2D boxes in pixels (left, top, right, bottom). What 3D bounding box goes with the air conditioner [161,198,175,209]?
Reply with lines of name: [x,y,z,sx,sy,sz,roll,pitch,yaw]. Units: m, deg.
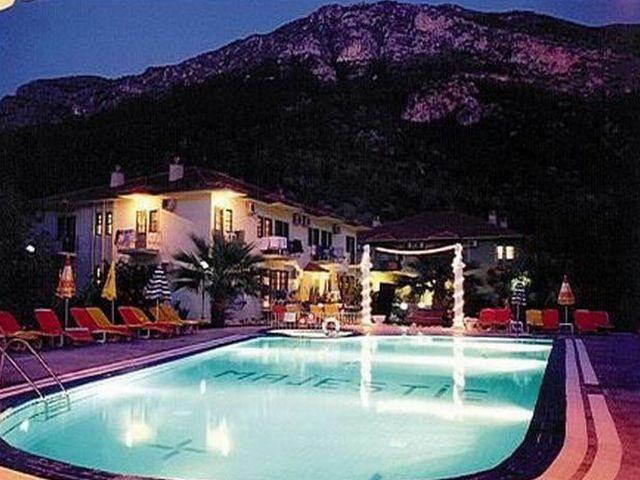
air conditioner: [-8.086,-1.897,32.459,0.591,0.732,0.468,-1,-3,28]

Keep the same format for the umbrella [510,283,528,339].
umbrella: [8.909,2.874,27.842,0.572,1.554,2.210,-4,-30,13]
